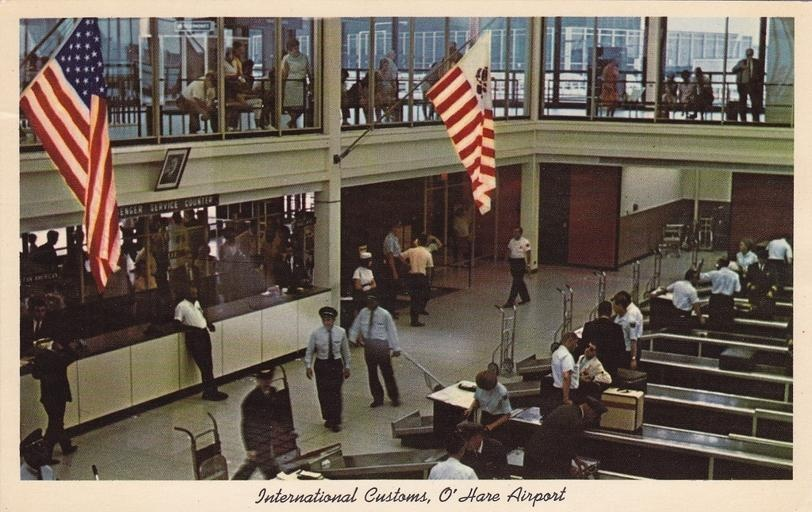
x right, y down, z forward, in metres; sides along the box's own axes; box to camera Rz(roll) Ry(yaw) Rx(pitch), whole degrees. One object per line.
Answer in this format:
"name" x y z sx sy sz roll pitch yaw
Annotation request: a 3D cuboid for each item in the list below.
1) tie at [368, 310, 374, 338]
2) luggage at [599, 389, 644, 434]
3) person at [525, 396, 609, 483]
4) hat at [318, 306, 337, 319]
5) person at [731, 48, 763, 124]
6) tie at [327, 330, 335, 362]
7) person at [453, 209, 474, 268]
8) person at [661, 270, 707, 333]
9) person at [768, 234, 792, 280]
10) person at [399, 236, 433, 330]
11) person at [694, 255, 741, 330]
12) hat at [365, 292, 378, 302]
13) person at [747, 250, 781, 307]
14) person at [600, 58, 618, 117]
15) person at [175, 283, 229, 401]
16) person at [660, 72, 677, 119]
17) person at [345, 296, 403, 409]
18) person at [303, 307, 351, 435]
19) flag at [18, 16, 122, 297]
"tie" -0.749 1.427 16.537 0.128 0.568 0.035 1 9 19
"luggage" 3.689 2.612 13.344 0.672 0.617 0.534 3 3 23
"person" 2.417 2.972 12.268 0.803 1.245 1.630 4 11 32
"hat" -1.560 1.135 15.582 0.275 0.223 0.615 -2 10 -1
"person" 10.367 -5.136 23.607 0.815 2.155 0.657 2 9 24
"tie" -1.508 1.784 15.616 0.125 0.619 0.118 -4 9 -13
"person" 1.930 -0.634 26.364 0.645 2.105 0.942 -1 9 4
"person" 6.393 1.090 17.867 0.885 1.494 0.430 20 32 40
"person" 9.004 0.122 18.936 0.595 1.440 0.380 9 26 33
"person" 0.302 0.757 21.857 0.794 2.353 0.888 -2 8 0
"person" 7.092 0.809 17.582 0.764 1.340 1.604 1 10 21
"hat" -0.848 0.955 18.300 0.367 0.090 0.386 -4 12 -16
"person" 8.401 0.615 18.328 0.790 0.952 1.805 2 10 26
"person" 6.777 -5.553 25.765 0.574 1.825 0.773 5 11 39
"person" -4.448 1.962 16.728 0.924 2.331 0.386 -4 9 -12
"person" 8.354 -4.967 24.742 0.525 1.128 0.695 1 9 18
"person" -0.661 1.971 17.036 0.985 2.384 1.527 -2 9 -1
"person" -1.573 2.231 15.820 0.794 2.463 0.600 3 10 32
"flag" -5.062 -1.628 12.281 1.245 4.182 0.962 5 11 38
